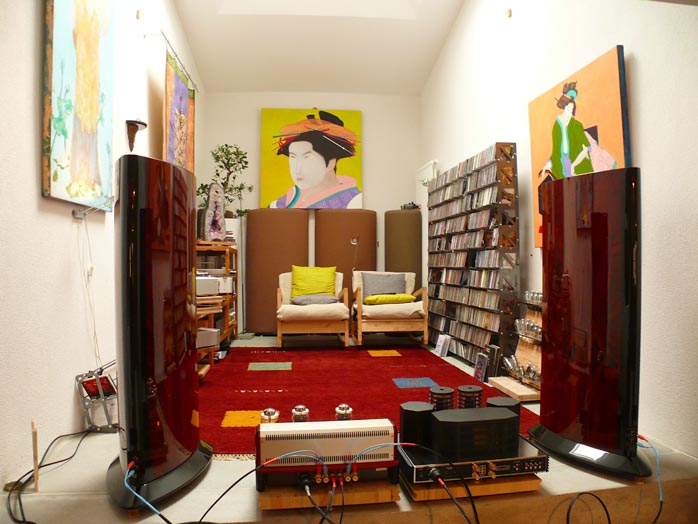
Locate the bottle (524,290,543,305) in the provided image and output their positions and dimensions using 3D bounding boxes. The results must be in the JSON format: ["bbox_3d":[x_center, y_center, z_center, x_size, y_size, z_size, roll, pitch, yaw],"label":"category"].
[{"bbox_3d":[1.389,0.265,3.875,0.128,0.077,0.177,1,-4,5],"label":"bottle"}]

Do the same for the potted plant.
[{"bbox_3d":[-1.503,-0.930,6.182,0.704,1.310,1.575,-2,1,-11],"label":"potted plant"}]

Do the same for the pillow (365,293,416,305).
[{"bbox_3d":[0.439,0.390,5.514,0.540,0.094,0.233,-2,1,6],"label":"pillow"}]

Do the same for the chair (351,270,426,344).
[{"bbox_3d":[0.427,0.500,5.818,0.769,0.865,0.989,0,-6,1],"label":"chair"}]

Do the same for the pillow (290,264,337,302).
[{"bbox_3d":[-0.421,0.254,5.970,0.356,0.347,0.126,1,-29,-2],"label":"pillow"}]

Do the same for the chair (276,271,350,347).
[{"bbox_3d":[-0.427,0.505,5.878,0.754,0.896,1.137,-1,-6,-3],"label":"chair"}]
